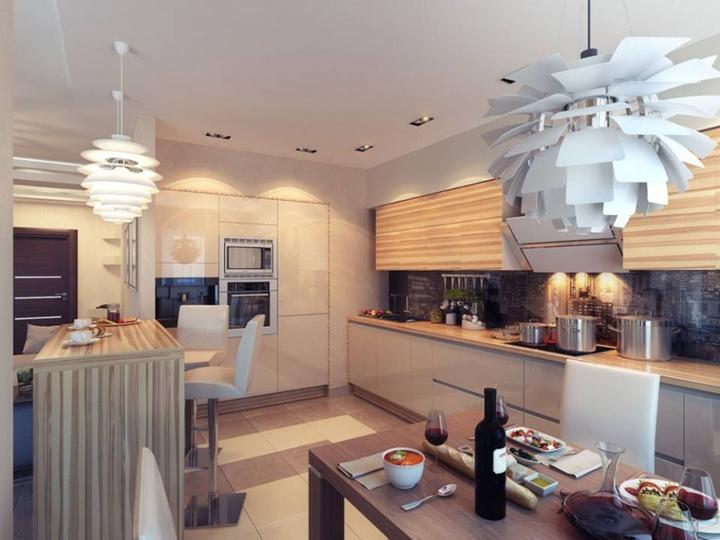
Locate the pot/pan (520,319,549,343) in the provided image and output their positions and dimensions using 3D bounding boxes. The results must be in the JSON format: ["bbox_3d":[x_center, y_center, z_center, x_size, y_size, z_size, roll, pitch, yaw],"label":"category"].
[{"bbox_3d":[1.388,0.477,4.041,0.163,0.152,0.168,-2,-3,33],"label":"pot/pan"}]

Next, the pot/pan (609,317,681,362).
[{"bbox_3d":[1.991,0.473,3.536,0.426,0.273,0.331,2,-4,-6],"label":"pot/pan"}]

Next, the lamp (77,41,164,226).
[{"bbox_3d":[-1.756,-0.933,3.759,0.549,1.168,1.396,-1,7,-25],"label":"lamp"}]

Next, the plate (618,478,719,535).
[{"bbox_3d":[1.291,0.980,2.090,0.226,0.026,0.228,2,4,23],"label":"plate"}]

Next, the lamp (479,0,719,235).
[{"bbox_3d":[1.002,-0.428,2.291,0.856,1.065,0.876,0,1,25],"label":"lamp"}]

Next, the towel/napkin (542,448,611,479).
[{"bbox_3d":[1.007,0.899,2.361,0.344,0.046,0.200,-2,4,-44],"label":"towel/napkin"}]

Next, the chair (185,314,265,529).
[{"bbox_3d":[-1.002,1.021,3.568,0.589,1.320,0.589,0,0,-4],"label":"chair"}]

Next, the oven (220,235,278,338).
[{"bbox_3d":[-1.234,0.172,5.427,0.607,1.020,0.502,1,-3,-29],"label":"oven"}]

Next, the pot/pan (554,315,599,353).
[{"bbox_3d":[1.594,0.454,3.750,0.260,0.282,0.260,1,-2,-4],"label":"pot/pan"}]

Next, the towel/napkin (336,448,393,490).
[{"bbox_3d":[0.021,0.927,2.364,0.236,0.028,0.215,0,3,-29],"label":"towel/napkin"}]

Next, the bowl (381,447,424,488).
[{"bbox_3d":[0.197,0.904,2.326,0.202,0.127,0.201,1,4,0],"label":"bowl"}]
